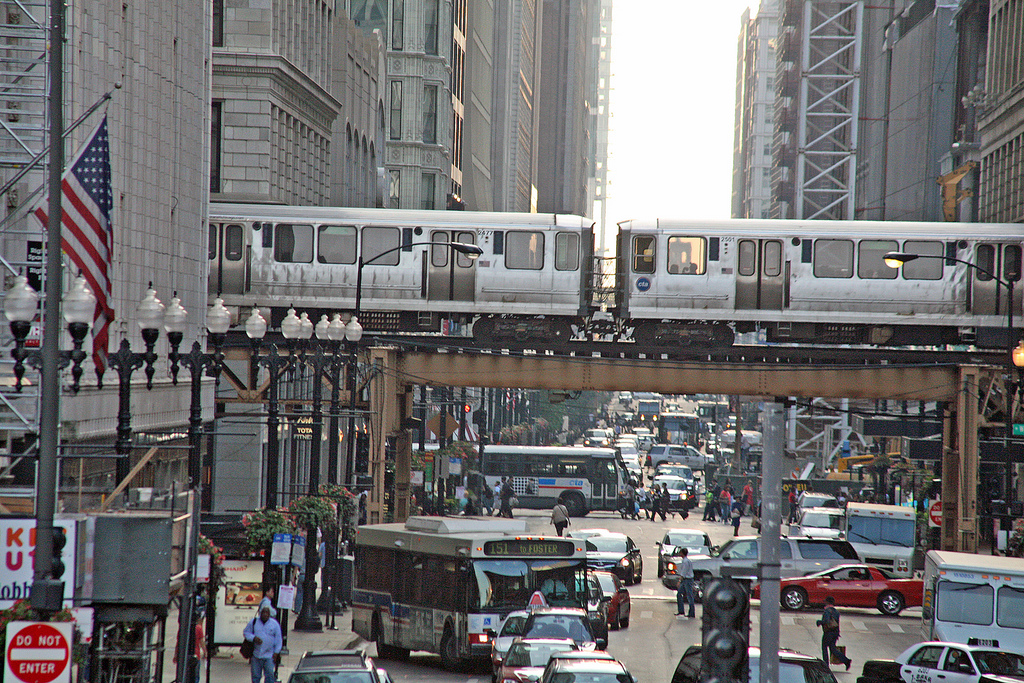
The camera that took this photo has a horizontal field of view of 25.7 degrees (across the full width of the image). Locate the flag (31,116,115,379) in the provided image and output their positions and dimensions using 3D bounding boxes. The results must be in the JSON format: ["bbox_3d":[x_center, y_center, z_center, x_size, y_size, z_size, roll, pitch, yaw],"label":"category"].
[{"bbox_3d":[-10.985,-2.684,56.425,1.854,6.825,1.766,1,-8,2],"label":"flag"}]

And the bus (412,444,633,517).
[{"bbox_3d":[0.088,7.047,102.989,10.965,3.667,3.500,-1,0,8],"label":"bus"}]
